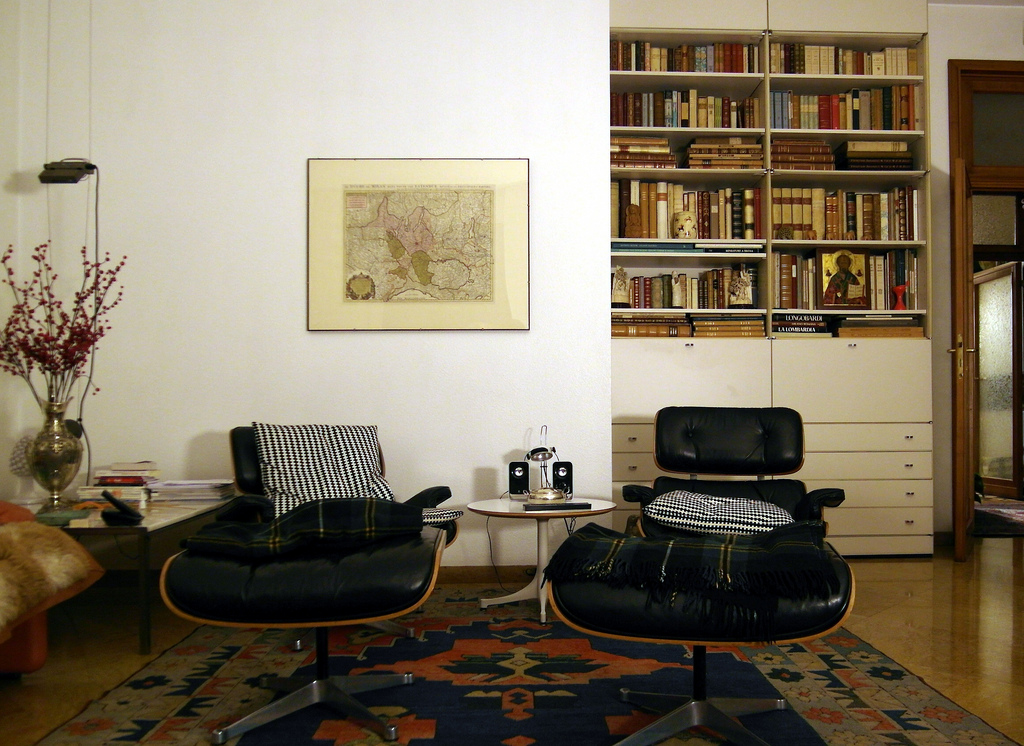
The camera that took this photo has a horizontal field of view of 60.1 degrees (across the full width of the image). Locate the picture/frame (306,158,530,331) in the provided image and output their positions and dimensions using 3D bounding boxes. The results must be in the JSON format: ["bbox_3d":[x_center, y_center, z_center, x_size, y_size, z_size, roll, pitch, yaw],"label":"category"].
[{"bbox_3d":[-0.594,-0.747,5.167,1.135,0.775,0.038,1,3,0],"label":"picture/frame"}]

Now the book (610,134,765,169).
[{"bbox_3d":[1.123,-1.414,5.691,0.985,0.217,0.279,0,9,-2],"label":"book"}]

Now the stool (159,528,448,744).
[{"bbox_3d":[-0.847,1.110,3.947,0.983,0.930,0.926,-2,-17,0],"label":"stool"}]

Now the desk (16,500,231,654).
[{"bbox_3d":[-1.942,0.813,4.504,0.817,0.512,1.140,1,3,0],"label":"desk"}]

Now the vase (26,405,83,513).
[{"bbox_3d":[-2.410,0.442,4.618,0.350,0.571,0.328,2,1,-3],"label":"vase"}]

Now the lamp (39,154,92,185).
[{"bbox_3d":[-2.436,-1.110,4.924,0.212,0.074,0.189,1,21,0],"label":"lamp"}]

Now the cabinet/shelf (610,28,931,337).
[{"bbox_3d":[1.659,-1.221,5.666,2.205,1.785,0.609,1,-5,-1],"label":"cabinet/shelf"}]

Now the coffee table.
[{"bbox_3d":[0.175,0.921,4.656,0.728,0.473,0.688,1,6,5],"label":"coffee table"}]

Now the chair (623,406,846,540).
[{"bbox_3d":[1.100,0.440,4.610,0.930,0.761,0.706,1,-13,8],"label":"chair"}]

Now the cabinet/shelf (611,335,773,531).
[{"bbox_3d":[0.970,0.359,4.979,1.312,1.115,0.430,0,-7,-2],"label":"cabinet/shelf"}]

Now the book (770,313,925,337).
[{"bbox_3d":[2.140,-0.300,5.600,0.995,0.136,0.179,0,9,-1],"label":"book"}]

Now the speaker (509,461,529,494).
[{"bbox_3d":[0.044,0.582,4.892,0.102,0.174,0.131,1,10,5],"label":"speaker"}]
